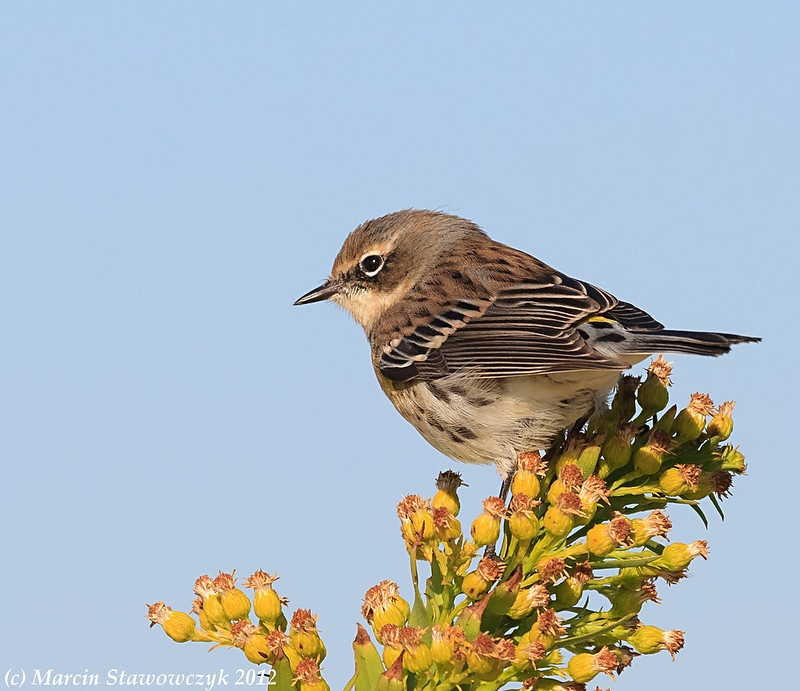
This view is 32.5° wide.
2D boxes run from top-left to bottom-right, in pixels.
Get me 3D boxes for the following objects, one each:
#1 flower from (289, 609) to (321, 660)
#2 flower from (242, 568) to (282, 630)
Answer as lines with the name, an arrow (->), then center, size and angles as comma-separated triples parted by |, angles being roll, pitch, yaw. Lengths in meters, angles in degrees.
flower -> -0.494, 1.478, 7.173 | 0.176, 0.238, 0.306 | -5, -32, -5
flower -> -0.705, 1.294, 7.189 | 0.179, 0.341, 0.427 | -4, -32, -6
